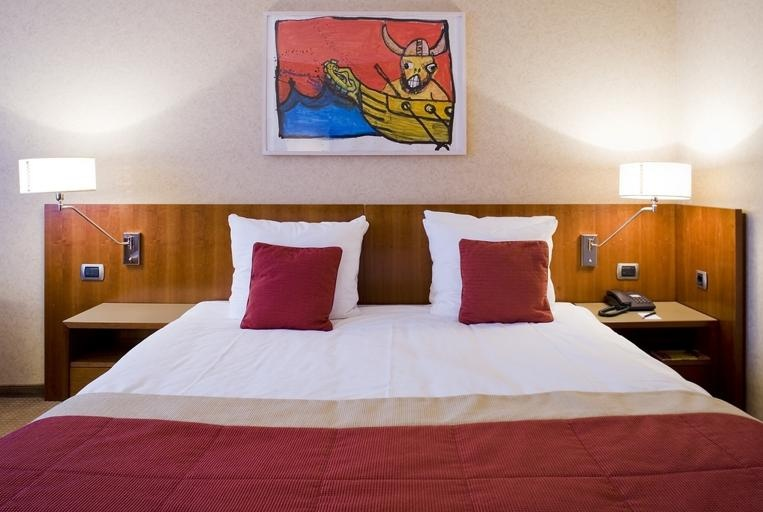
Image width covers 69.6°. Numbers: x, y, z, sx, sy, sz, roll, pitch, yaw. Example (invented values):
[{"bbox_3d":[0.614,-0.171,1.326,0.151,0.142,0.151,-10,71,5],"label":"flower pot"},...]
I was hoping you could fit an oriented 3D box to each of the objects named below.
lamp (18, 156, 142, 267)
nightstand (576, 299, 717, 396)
[{"bbox_3d":[-1.865,-0.266,3.463,0.634,0.669,0.287,-4,6,-30],"label":"lamp"},{"bbox_3d":[1.686,0.504,3.473,0.889,0.824,0.484,0,2,5],"label":"nightstand"}]
